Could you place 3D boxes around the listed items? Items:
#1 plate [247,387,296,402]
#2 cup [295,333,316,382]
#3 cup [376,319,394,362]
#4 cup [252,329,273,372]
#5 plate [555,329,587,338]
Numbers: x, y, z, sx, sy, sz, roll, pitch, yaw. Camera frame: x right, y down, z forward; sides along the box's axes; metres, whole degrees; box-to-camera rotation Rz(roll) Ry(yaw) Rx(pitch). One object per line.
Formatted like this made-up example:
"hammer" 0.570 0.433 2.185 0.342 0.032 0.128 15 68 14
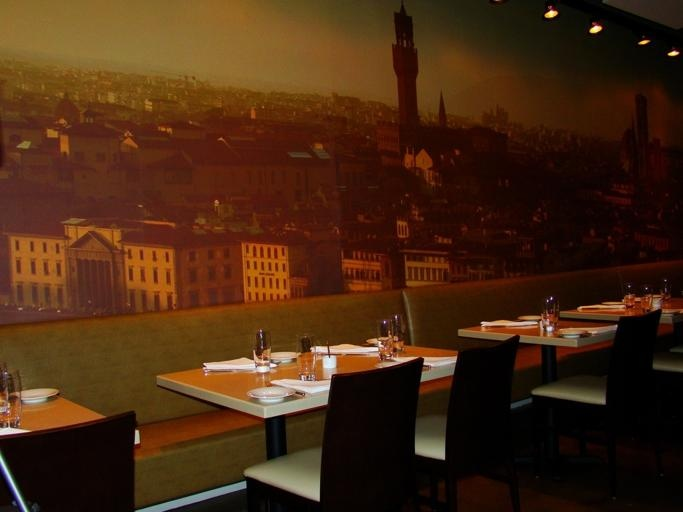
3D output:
"plate" -0.308 0.601 3.245 0.181 0.038 0.149 2 7 33
"cup" -0.164 0.467 3.425 0.072 0.210 0.069 -3 6 0
"cup" 0.231 0.416 3.745 0.086 0.211 0.070 -4 6 -9
"cup" -0.385 0.456 3.590 0.077 0.213 0.077 -3 6 0
"plate" 1.324 0.435 4.252 0.163 0.030 0.155 -1 6 16
